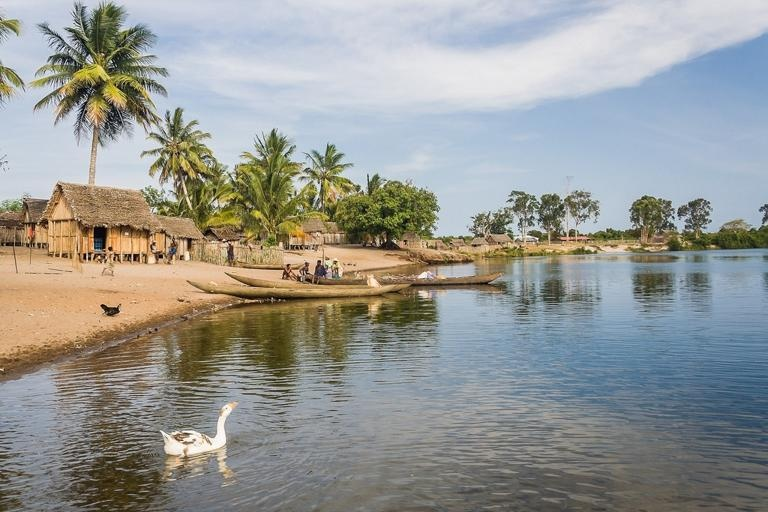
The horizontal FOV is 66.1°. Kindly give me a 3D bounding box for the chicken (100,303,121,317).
[{"bbox_3d":[-11.362,2.240,24.415,0.954,0.488,0.472,12,4,-8],"label":"chicken"}]

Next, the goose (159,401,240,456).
[{"bbox_3d":[-3.944,3.727,12.699,1.425,0.959,0.654,-9,17,-34],"label":"goose"}]
